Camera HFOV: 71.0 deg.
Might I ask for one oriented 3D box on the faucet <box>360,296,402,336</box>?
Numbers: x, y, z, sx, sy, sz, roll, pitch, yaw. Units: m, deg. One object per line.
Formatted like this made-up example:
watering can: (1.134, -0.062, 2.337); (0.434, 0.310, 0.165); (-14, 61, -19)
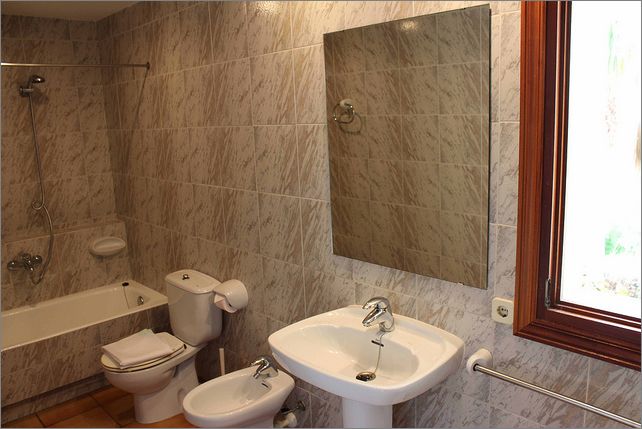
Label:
faucet: (0.287, 0.528, 2.437); (0.215, 0.215, 0.127); (-9, 9, -30)

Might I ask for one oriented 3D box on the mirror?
mirror: (0.428, -0.350, 2.356); (0.999, 1.299, 0.167); (10, 20, 36)

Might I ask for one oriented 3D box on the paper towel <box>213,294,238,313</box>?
paper towel: (-0.713, 0.636, 3.297); (0.116, 0.154, 0.160); (11, 18, 31)

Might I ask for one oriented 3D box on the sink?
sink: (0.215, 0.720, 2.329); (0.676, 0.292, 0.822); (-18, 23, -42)

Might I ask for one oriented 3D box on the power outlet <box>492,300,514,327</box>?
power outlet: (0.874, 0.466, 2.151); (0.041, 0.130, 0.116); (-6, 11, -39)
